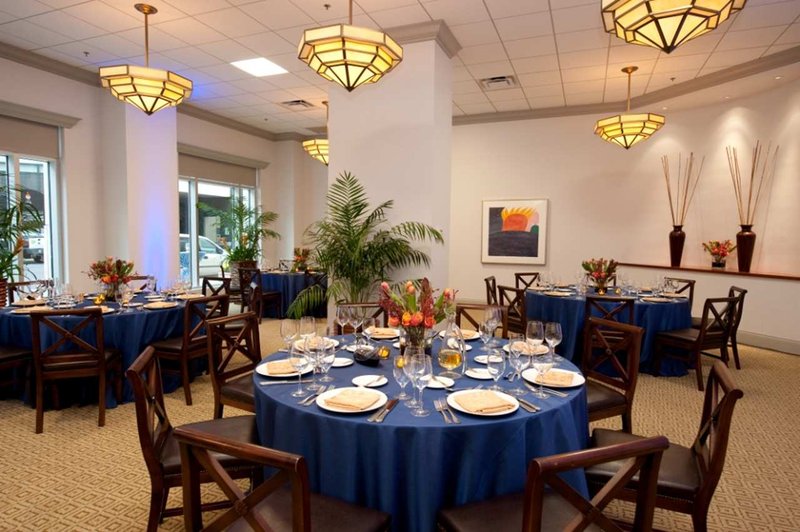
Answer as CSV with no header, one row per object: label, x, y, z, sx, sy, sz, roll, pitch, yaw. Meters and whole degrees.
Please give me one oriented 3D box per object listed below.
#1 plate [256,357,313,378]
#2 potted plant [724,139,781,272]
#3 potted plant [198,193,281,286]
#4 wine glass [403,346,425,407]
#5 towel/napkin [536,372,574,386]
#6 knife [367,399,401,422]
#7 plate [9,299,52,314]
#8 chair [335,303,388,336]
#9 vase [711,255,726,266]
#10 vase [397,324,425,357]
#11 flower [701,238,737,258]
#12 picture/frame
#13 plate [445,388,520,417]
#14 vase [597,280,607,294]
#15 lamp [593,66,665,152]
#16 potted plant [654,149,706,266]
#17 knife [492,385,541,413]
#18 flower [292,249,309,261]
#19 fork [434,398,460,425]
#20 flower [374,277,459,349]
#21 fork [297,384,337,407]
plate,-0.999,0.835,4.255,0.297,0.101,0.321,1,0,-23
potted plant,5.709,-0.943,8.541,0.519,2.123,0.646,1,2,6
potted plant,-3.202,-0.568,11.726,1.666,1.431,1.643,0,0,42
wine glass,0.103,0.809,3.844,0.149,0.441,0.318,1,2,0
towel/napkin,1.263,0.894,4.161,0.270,0.083,0.185,1,1,5
knife,-0.102,1.029,3.785,0.078,0.013,0.269,7,13,14
plate,-4.235,0.472,5.999,0.378,0.069,0.396,2,4,9
chair,-0.395,0.490,5.009,0.449,0.337,0.450,0,0,-5
vase,5.426,-0.080,8.849,0.177,0.183,0.335,1,-3,22
vase,0.103,0.589,4.255,0.209,0.238,0.212,0,-2,0
flower,5.388,-0.289,8.863,0.332,0.258,0.344,8,0,33
picture/frame,2.347,-0.660,10.410,1.315,1.360,0.045,0,0,21
plate,0.613,0.999,3.841,0.523,0.133,0.247,1,1,5
vase,2.823,0.297,7.312,0.162,0.249,0.165,1,6,24
lamp,3.708,-2.469,8.596,0.935,1.133,1.500,1,1,17
potted plant,4.951,-1.002,9.224,0.683,2.020,0.475,2,2,26
knife,0.906,0.997,3.913,0.118,0.023,0.451,-4,4,-14
flower,-1.874,-0.161,10.358,0.298,0.313,0.305,3,1,21
fork,0.338,1.041,3.761,0.071,0.032,0.237,-6,14,-4
flower,0.165,0.385,4.662,0.662,0.677,0.651,1,-1,-13
fork,-0.636,0.970,3.939,0.086,0.037,0.335,1,19,15
